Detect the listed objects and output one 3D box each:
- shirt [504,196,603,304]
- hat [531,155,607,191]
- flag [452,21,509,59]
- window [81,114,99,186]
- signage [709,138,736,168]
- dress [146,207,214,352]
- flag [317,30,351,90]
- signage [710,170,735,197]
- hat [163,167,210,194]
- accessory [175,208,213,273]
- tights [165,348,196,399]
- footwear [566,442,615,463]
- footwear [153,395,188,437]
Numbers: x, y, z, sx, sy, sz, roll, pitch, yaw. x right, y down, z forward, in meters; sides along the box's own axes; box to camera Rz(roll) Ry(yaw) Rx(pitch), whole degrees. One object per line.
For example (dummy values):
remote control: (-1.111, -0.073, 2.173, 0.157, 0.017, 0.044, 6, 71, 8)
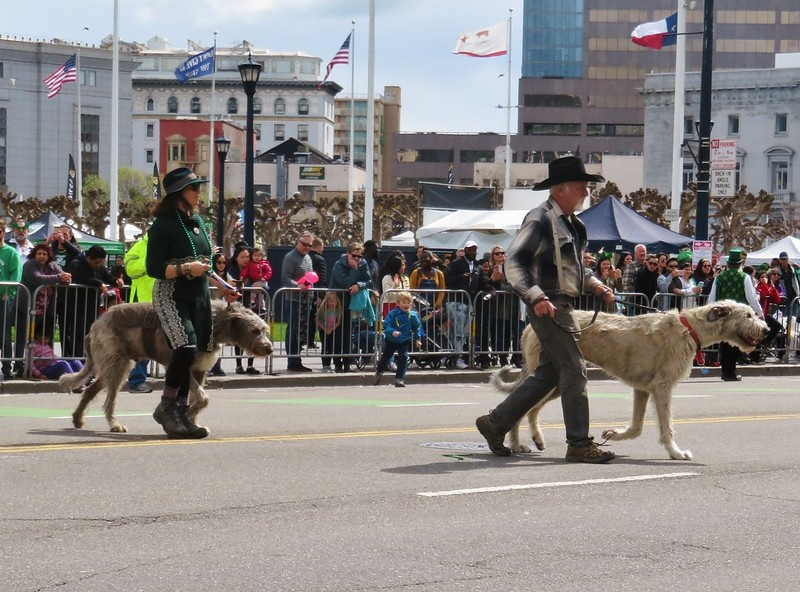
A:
shirt: (1.508, -0.483, 14.682, 0.878, 1.030, 0.469, -5, 9, -43)
hat: (1.677, -1.266, 14.701, 0.542, 0.189, 0.436, -10, 2, 14)
flag: (3.071, -9.632, 53.626, 1.857, 1.317, 1.891, 2, 7, 4)
window: (-26.820, -13.228, 123.676, 1.584, 5.094, 0.958, -2, 8, -27)
signage: (6.511, -2.903, 29.083, 0.752, 0.755, 0.112, 0, 1, 10)
dress: (-2.320, -0.175, 15.113, 0.741, 1.523, 0.456, -1, 7, -24)
flag: (-2.264, -8.598, 51.161, 0.760, 0.181, 2.822, -6, -27, -12)
signage: (6.536, -2.336, 29.176, 0.625, 0.623, 0.089, 2, 1, 1)
hat: (-2.269, -1.168, 15.022, 0.397, 0.140, 0.331, -18, 7, 1)
accessory: (-2.170, -0.598, 15.161, 0.129, 0.598, 0.466, -16, -6, 25)
tights: (-2.351, 0.802, 15.181, 0.324, 0.597, 0.310, 1, 7, -8)
footwear: (1.924, 1.615, 14.849, 0.551, 0.234, 0.192, 0, -1, 2)
footwear: (-2.451, 1.273, 15.311, 0.195, 0.320, 0.545, -3, 27, -42)
